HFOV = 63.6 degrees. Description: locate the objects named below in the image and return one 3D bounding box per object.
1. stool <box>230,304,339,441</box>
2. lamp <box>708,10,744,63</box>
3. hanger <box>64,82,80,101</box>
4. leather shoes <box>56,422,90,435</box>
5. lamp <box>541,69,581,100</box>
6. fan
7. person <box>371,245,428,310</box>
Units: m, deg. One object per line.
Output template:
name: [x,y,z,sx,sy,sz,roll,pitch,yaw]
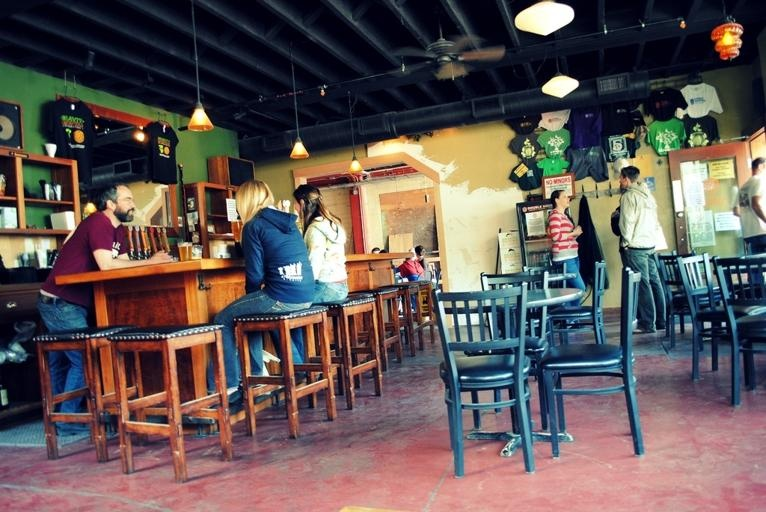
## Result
stool: [-0.994,1.017,5.955,1.093,1.590,1.060,-2,-1,11]
lamp: [4.108,-2.606,7.393,0.309,0.498,0.655,3,16,31]
hanger: [-4.379,-2.302,8.613,0.070,0.215,0.262,-1,14,18]
leather shoes: [-2.961,1.619,5.821,0.191,0.070,0.183,1,-4,-3]
lamp: [2.324,-2.232,8.162,0.377,0.260,0.346,5,16,35]
fan: [0.869,-2.620,8.150,1.409,0.536,1.387,-4,13,2]
person: [0.306,0.335,12.334,1.186,1.623,1.047,0,-2,4]
